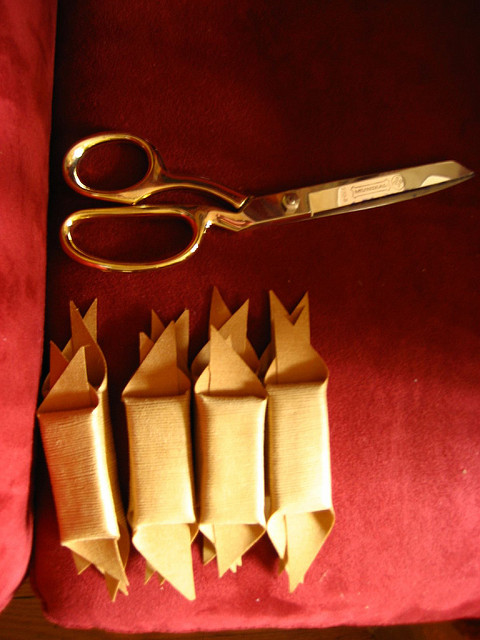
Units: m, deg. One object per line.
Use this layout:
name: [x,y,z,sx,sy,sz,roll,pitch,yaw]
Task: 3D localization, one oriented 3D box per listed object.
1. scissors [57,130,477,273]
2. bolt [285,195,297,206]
scissors: [0.032,-0.100,0.492,0.349,0.105,0.056,-6,15,-16]
bolt: [0.040,-0.093,0.473,0.007,0.007,0.002,15,-9,-8]
